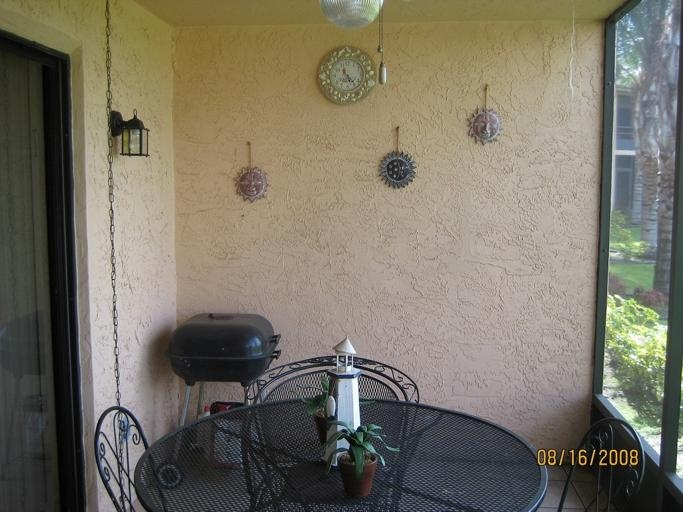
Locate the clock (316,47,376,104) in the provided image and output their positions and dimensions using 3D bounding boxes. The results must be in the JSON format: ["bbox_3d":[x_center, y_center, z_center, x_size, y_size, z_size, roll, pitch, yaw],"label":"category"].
[{"bbox_3d":[0.035,-1.222,3.890,0.383,0.379,0.036,0,4,0],"label":"clock"}]

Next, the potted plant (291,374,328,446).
[{"bbox_3d":[-0.133,0.728,2.656,0.189,0.349,0.206,3,5,1],"label":"potted plant"}]

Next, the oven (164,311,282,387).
[{"bbox_3d":[-0.739,0.614,3.764,0.711,0.448,0.623,0,10,8],"label":"oven"}]

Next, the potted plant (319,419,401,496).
[{"bbox_3d":[0.058,0.853,2.451,0.254,0.300,0.255,0,4,-3],"label":"potted plant"}]

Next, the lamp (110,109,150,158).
[{"bbox_3d":[-1.261,-0.737,3.433,0.196,0.277,0.181,1,6,11],"label":"lamp"}]
